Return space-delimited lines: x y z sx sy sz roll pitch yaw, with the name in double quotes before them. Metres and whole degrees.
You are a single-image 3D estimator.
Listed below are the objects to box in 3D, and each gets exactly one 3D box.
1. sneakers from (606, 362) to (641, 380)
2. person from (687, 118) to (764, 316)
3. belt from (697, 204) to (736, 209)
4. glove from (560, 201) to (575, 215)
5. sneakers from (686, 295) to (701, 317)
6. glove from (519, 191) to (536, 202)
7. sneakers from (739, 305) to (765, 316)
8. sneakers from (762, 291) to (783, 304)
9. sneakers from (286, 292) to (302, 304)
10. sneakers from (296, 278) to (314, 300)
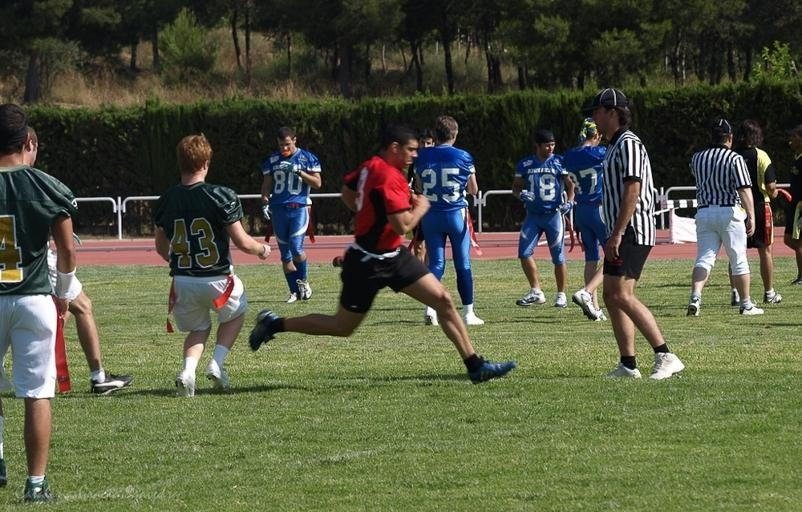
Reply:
"sneakers" 4.229 2.196 27.367 0.682 0.286 0.243 3 3 8
"person" 6.768 -0.830 30.232 1.372 4.142 0.610 -2 4 10
"belt" 6.634 -1.088 30.253 0.772 0.070 0.088 0 5 22
"glove" 3.609 -1.069 31.393 0.278 0.295 0.229 4 10 -18
"sneakers" 6.139 1.030 30.240 0.240 0.437 0.279 -1 5 13
"glove" 2.733 -1.344 31.339 0.216 0.113 0.285 37 -24 -27
"sneakers" 7.400 1.127 30.277 0.512 0.222 0.214 -3 6 -22
"sneakers" 8.024 0.858 31.051 0.419 0.294 0.288 -2 5 3
"sneakers" -2.430 0.930 32.249 0.141 0.175 0.416 1 -2 18
"sneakers" -2.177 0.747 32.364 0.194 0.559 0.241 -6 0 12
